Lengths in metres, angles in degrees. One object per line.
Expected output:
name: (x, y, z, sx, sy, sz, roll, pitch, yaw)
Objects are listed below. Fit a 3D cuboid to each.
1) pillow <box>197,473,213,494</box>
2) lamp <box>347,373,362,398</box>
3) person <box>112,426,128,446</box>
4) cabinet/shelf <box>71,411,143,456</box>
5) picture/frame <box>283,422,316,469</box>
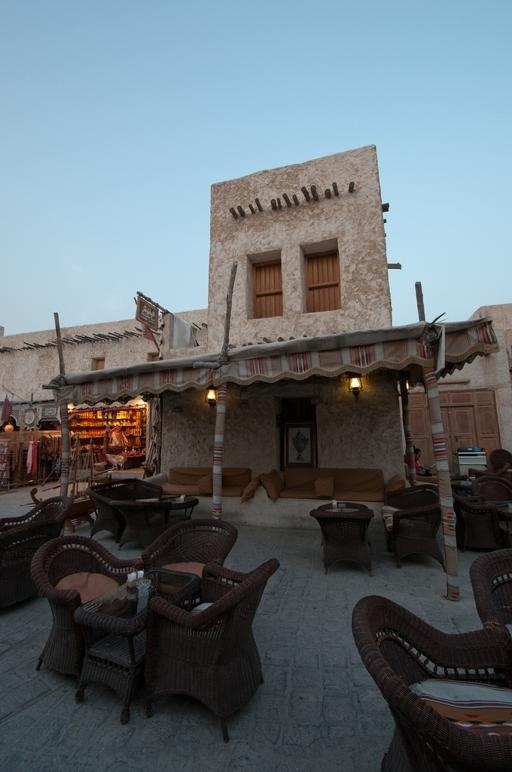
pillow: (-0.801, 1.645, 8.445, 0.361, 0.308, 0.474, 0, -4, 2)
lamp: (1.577, 0.023, 8.042, 0.212, 0.305, 0.324, -3, -1, 11)
person: (-4.675, 1.803, 17.407, 0.478, 0.761, 1.011, -3, -1, -6)
cabinet/shelf: (-5.067, 1.572, 17.766, 2.415, 1.698, 1.211, -2, -1, -12)
picture/frame: (0.776, 1.060, 8.781, 0.847, 1.052, 0.083, -7, -20, 25)
